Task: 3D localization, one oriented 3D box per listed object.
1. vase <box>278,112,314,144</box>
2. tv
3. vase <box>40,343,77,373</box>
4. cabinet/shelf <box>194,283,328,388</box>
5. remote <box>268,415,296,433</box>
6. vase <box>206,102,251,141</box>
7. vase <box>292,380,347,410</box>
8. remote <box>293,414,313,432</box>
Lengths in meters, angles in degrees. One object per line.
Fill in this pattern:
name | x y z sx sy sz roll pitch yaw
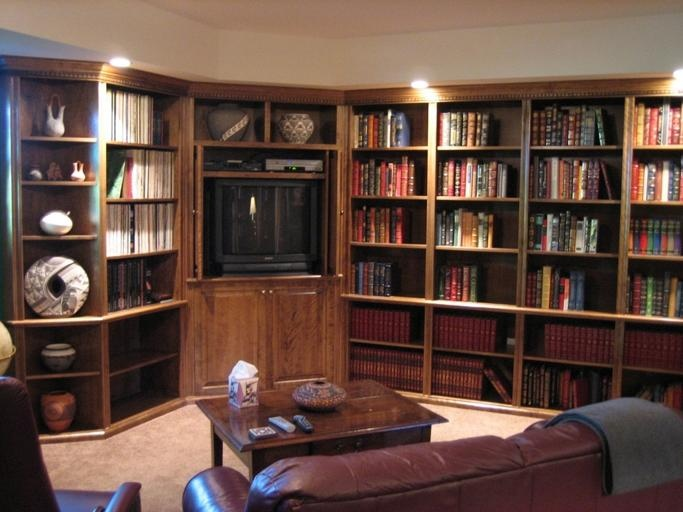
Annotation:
vase | -0.416 -1.083 4.774 0.298 0.213 0.285 -7 15 -27
tv | -0.613 -0.258 5.044 1.314 1.033 0.711 0 0 -13
vase | -1.994 0.709 4.048 0.217 0.148 0.206 3 6 15
cabinet/shelf | -0.703 0.628 4.585 0.980 0.726 0.351 0 3 -7
remote | -0.310 0.886 2.986 0.061 0.020 0.106 0 6 -35
vase | -0.917 -1.089 4.746 0.349 0.289 0.330 0 0 5
vase | -0.140 0.782 3.186 0.200 0.089 0.200 1 2 37
remote | -0.199 0.880 2.984 0.052 0.031 0.104 -2 8 -21
